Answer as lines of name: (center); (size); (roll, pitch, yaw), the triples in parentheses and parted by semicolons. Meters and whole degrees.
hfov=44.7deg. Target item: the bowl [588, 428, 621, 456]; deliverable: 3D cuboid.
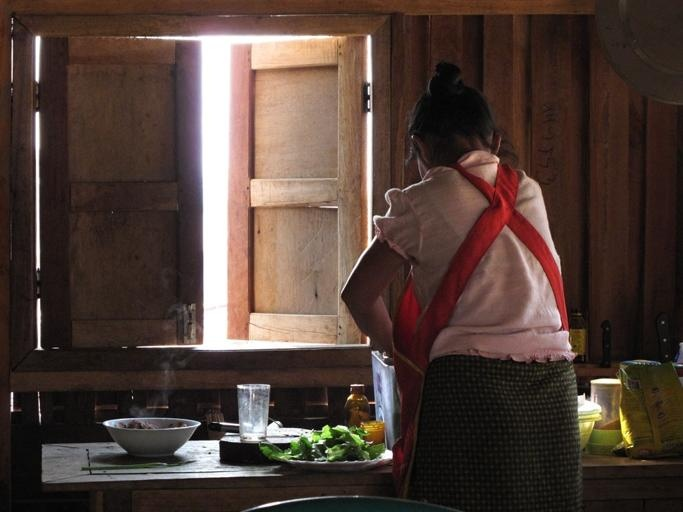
bowl: (0.893, 0.633, 2.834); (0.082, 0.064, 0.082); (1, -6, 0)

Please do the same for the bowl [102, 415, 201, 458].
bowl: (-0.612, 0.588, 2.709); (0.293, 0.114, 0.249); (-1, -6, -1)

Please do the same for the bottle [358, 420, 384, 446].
bottle: (0.102, 0.593, 2.787); (0.068, 0.070, 0.068); (3, -4, -33)

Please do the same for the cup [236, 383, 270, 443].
cup: (-0.287, 0.509, 2.720); (0.099, 0.176, 0.163); (-1, -6, -6)
